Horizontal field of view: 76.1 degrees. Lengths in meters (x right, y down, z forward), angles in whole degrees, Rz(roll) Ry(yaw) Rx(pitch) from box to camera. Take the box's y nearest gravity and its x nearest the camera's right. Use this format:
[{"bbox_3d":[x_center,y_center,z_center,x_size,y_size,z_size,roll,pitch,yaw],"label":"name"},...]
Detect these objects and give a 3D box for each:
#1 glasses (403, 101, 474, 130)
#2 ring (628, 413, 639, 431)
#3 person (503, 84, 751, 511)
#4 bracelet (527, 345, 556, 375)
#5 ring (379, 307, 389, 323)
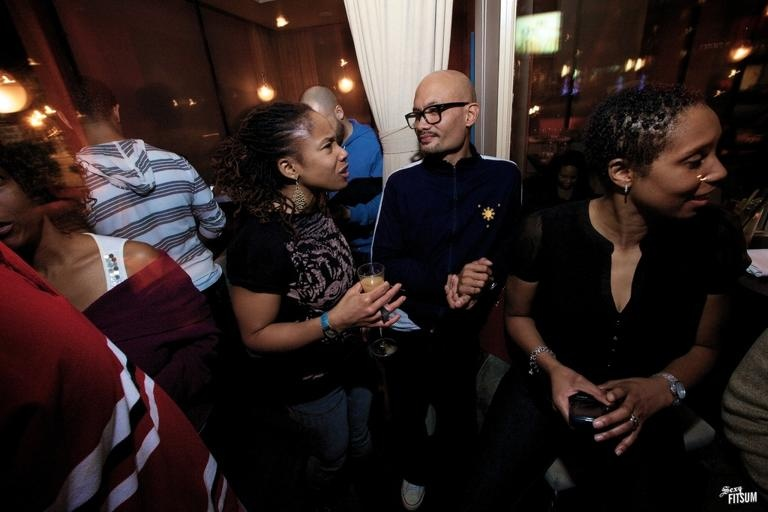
[{"bbox_3d":[0.322,-0.843,2.924,0.365,0.123,0.116,-2,29,8],"label":"glasses"},{"bbox_3d":[1.196,0.792,2.345,0.056,0.068,0.027,4,-6,-17],"label":"ring"},{"bbox_3d":[1.137,0.238,2.367,1.169,1.883,0.744,-1,29,11],"label":"person"},{"bbox_3d":[0.828,0.539,2.579,0.138,0.148,0.041,3,10,-22],"label":"bracelet"},{"bbox_3d":[0.009,0.326,2.706,0.032,0.096,0.040,0,17,35],"label":"ring"}]
